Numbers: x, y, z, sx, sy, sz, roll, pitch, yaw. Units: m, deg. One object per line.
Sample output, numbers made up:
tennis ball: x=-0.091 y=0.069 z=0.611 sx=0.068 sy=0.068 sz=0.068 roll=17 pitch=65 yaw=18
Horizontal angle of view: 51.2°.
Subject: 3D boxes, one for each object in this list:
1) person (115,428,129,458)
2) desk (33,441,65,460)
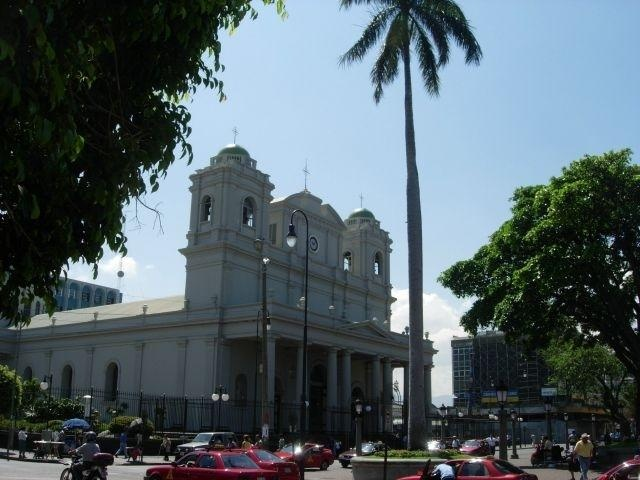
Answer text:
person: x=-10.889 y=11.261 z=36.880 sx=0.622 sy=1.559 sz=3.086 roll=4 pitch=-19 yaw=-16
desk: x=-14.242 y=11.053 z=35.045 sx=1.450 sy=0.846 sz=1.517 roll=5 pitch=-6 yaw=34
